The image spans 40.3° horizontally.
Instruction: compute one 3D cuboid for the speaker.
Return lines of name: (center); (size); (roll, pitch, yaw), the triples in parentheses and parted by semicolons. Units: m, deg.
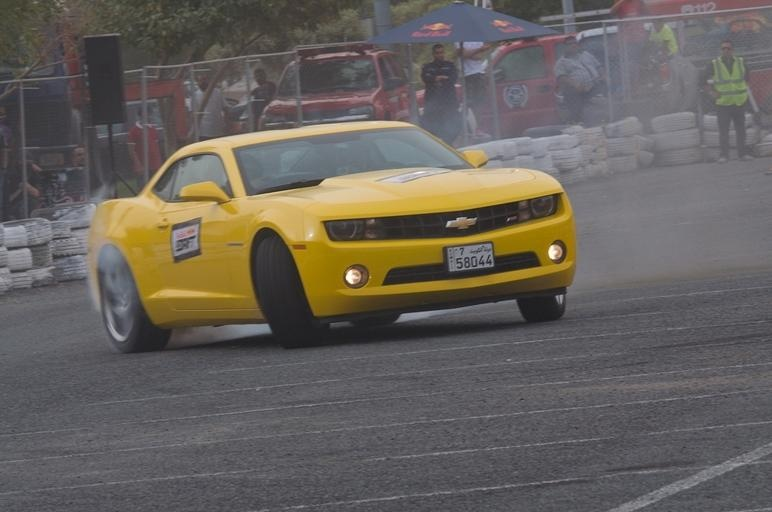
speaker: (-4.866, -3.046, 18.130); (0.720, 1.476, 0.555); (-8, 17, -23)
